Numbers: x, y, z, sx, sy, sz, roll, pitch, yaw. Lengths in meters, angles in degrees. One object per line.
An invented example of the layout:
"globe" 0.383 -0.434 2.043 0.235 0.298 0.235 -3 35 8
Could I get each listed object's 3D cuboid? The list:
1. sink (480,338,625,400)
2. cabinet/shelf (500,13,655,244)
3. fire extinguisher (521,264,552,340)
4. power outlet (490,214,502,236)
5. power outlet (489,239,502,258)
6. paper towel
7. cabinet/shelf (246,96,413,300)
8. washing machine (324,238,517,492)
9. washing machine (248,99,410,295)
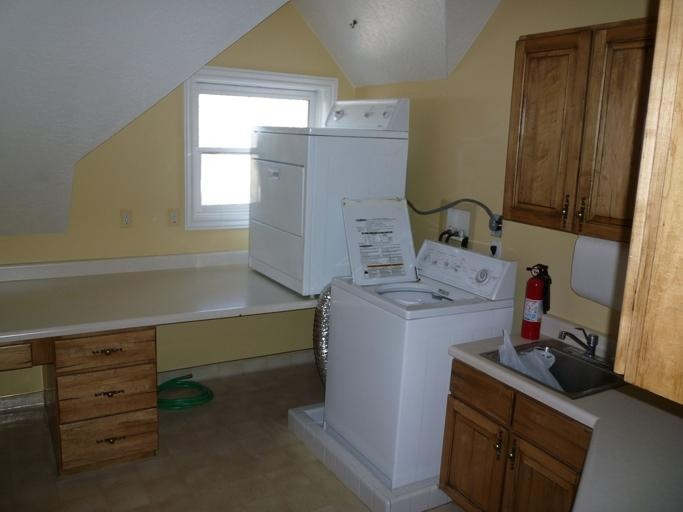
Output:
"sink" 0.994 0.498 2.423 0.513 0.230 0.454 -3 11 -30
"cabinet/shelf" 1.100 -0.584 2.337 0.304 0.914 0.597 -13 21 -43
"fire extinguisher" 0.996 0.237 2.606 0.076 0.407 0.147 3 13 4
"power outlet" 0.920 -0.173 2.933 0.039 0.130 0.086 -6 16 -30
"power outlet" 0.913 -0.041 2.941 0.058 0.115 0.076 -7 15 -31
"paper towel" 1.216 0.081 2.348 0.191 0.311 0.103 16 20 38
"cabinet/shelf" -0.201 -0.448 3.982 1.117 1.891 1.324 -3 10 -24
"washing machine" 0.361 0.571 2.943 0.967 1.287 0.685 -3 12 -30
"washing machine" -0.105 -0.372 3.598 0.971 1.381 0.952 -2 10 -29
